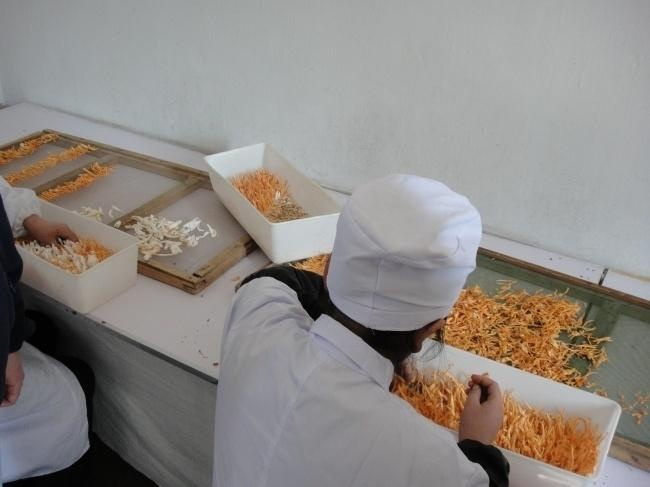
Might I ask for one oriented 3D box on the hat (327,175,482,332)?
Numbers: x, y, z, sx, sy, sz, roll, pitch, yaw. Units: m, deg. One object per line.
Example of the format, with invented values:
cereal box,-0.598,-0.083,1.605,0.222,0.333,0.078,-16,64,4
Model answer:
hat,0.226,-0.011,1.276,0.307,0.335,0.425,21,37,11
